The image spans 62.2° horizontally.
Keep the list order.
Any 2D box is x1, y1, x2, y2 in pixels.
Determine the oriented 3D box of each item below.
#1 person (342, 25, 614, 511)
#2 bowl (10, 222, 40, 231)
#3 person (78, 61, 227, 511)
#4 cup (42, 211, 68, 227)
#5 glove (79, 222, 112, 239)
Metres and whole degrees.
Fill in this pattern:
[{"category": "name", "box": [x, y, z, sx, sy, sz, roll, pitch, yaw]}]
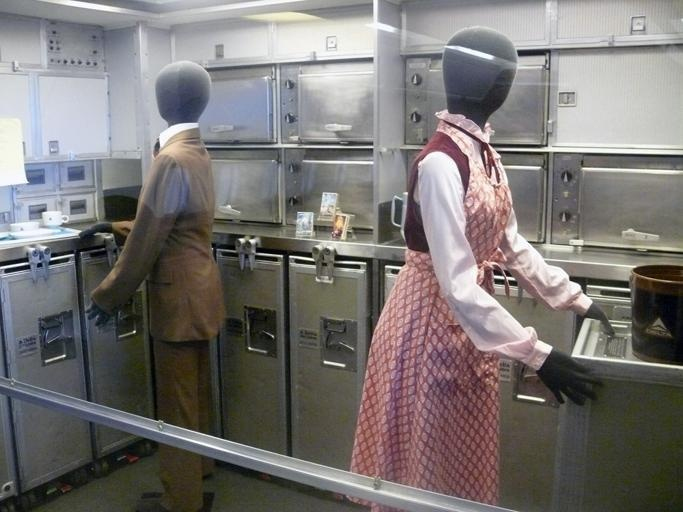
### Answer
[{"category": "person", "box": [0.335, 0.027, 1.363, 0.587, 1.085, 0.381, 5, 10, 28]}, {"category": "bowl", "box": [-0.959, -0.090, 1.715, 0.118, 0.030, 0.034, 5, 11, 25]}, {"category": "person", "box": [-0.520, -0.028, 1.590, 0.381, 0.981, 0.156, 3, 9, 22]}, {"category": "cup", "box": [-0.868, -0.114, 1.717, 0.060, 0.045, 0.046, 3, 2, -15]}, {"category": "glove", "box": [-0.730, -0.079, 1.688, 0.068, 0.019, 0.055, -18, 34, -12]}]
